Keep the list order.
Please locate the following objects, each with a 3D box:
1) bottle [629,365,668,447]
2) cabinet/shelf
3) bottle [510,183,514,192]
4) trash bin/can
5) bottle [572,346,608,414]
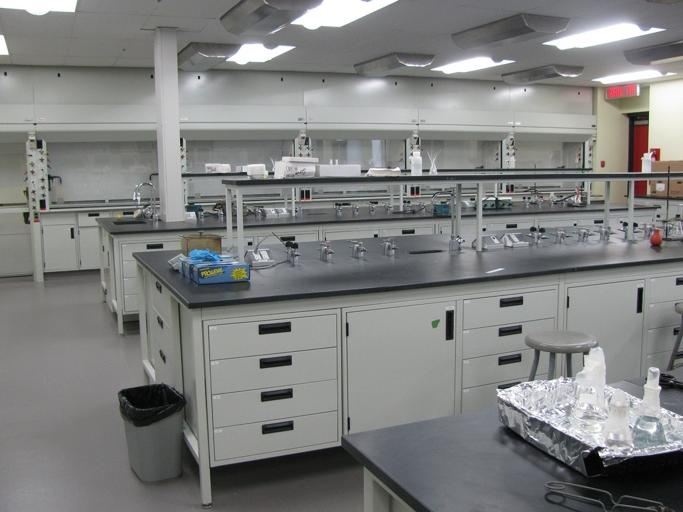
[{"bbox_3d":[0.855,0.395,1.392,0.080,0.211,0.195,7,13,32],"label":"bottle"},{"bbox_3d":[0.644,0.471,3.897,4.003,1.114,2.140,-5,12,-25],"label":"cabinet/shelf"},{"bbox_3d":[3.171,-1.289,9.470,0.140,0.206,0.007,12,-11,-38],"label":"bottle"},{"bbox_3d":[-1.022,1.008,2.842,0.336,0.396,0.352,-1,1,-16],"label":"trash bin/can"},{"bbox_3d":[0.721,0.364,1.456,0.087,0.190,0.089,0,11,0],"label":"bottle"}]
